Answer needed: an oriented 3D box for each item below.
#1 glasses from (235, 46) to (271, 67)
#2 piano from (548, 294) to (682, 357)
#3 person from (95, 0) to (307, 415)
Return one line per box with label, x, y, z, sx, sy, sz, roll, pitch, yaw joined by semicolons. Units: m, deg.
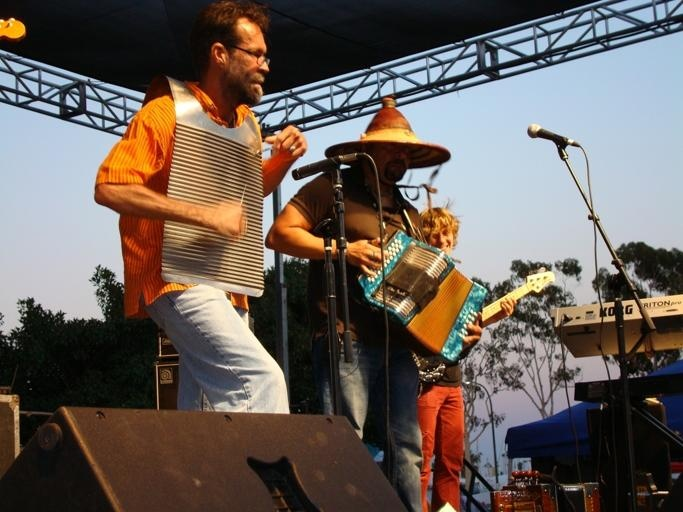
glasses;-0.707;-1.607;6.739;0.198;0.065;0.200;29;4;10
piano;3.242;0.839;10.076;1.485;0.662;0.881;-5;-11;17
person;-1.072;-0.457;6.634;1.377;3.340;0.649;-1;-9;-4
